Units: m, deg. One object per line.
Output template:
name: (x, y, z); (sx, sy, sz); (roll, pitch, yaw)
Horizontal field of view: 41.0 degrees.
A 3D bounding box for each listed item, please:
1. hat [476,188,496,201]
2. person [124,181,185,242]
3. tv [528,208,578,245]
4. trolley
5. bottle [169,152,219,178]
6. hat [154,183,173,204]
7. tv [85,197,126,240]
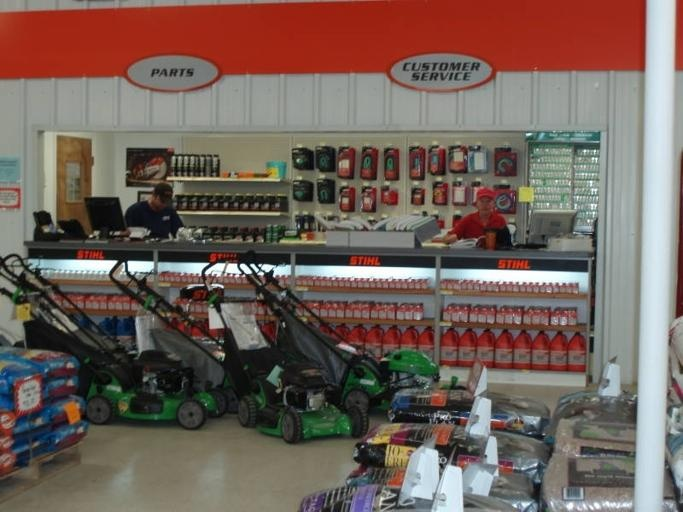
hat: (1.667, -0.705, 10.550); (0.166, 0.157, 0.290); (1, -10, 8)
person: (-2.124, -0.502, 10.572); (0.709, 0.914, 0.441); (-7, 11, -43)
tv: (2.235, -0.310, 9.723); (0.485, 0.372, 0.488); (0, 1, 24)
trolley: (-0.994, 0.906, 8.127); (3.391, 1.496, 1.753); (-1, 1, 7)
bottle: (-1.827, -1.141, 11.532); (0.600, 0.284, 0.461); (-3, 9, -10)
hat: (-1.932, -0.671, 9.945); (0.195, 0.228, 0.238); (-4, 8, -15)
tv: (-2.535, -0.404, 9.878); (0.465, 0.595, 0.291); (3, 11, 12)
